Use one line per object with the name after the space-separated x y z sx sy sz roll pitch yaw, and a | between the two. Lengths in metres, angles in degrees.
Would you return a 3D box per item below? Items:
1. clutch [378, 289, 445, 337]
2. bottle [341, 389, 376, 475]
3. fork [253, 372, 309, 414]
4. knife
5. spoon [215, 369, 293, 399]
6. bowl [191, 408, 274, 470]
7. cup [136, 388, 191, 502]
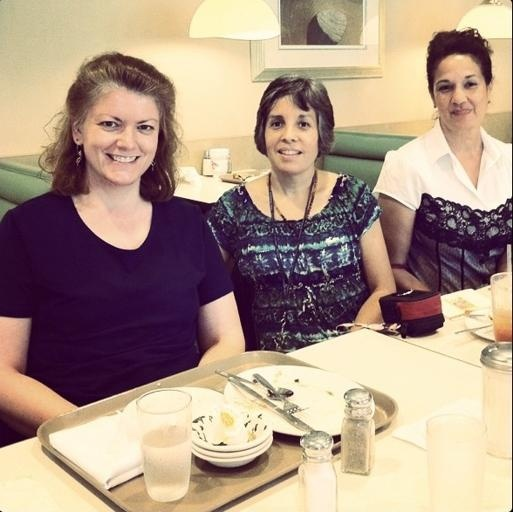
0.411 0.149 1.286 0.160 0.112 0.176 -10 6 10 | clutch
0.143 0.251 0.676 0.048 0.144 0.058 3 13 16 | bottle
0.041 0.256 0.915 0.035 0.016 0.112 -12 22 -25 | fork
0.027 0.270 0.848 0.030 0.013 0.267 -24 25 -26 | knife
-0.001 0.235 0.960 0.165 0.025 0.049 11 19 43 | spoon
-0.037 0.278 0.732 0.123 0.080 0.109 -2 12 -7 | bowl
-0.123 0.265 0.656 0.072 0.137 0.108 -3 13 -12 | cup
